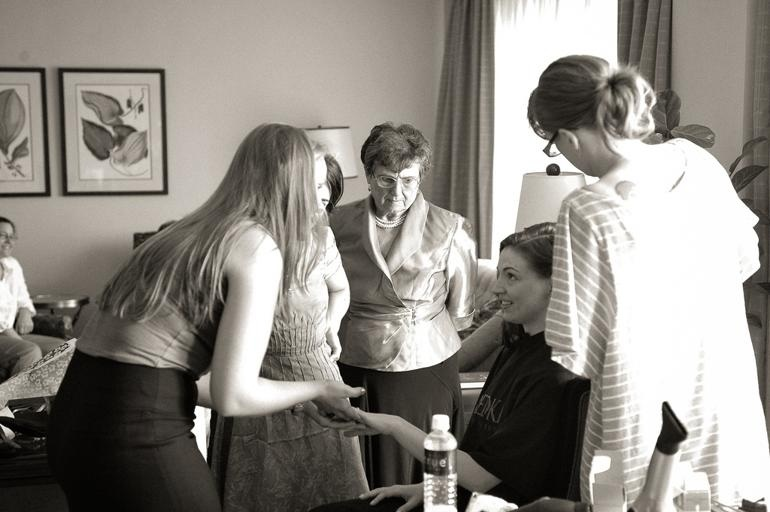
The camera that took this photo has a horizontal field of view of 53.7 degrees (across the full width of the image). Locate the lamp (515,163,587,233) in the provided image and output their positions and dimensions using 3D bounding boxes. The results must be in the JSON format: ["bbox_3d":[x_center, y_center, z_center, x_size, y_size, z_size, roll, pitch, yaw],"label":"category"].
[{"bbox_3d":[0.912,-0.253,4.276,0.441,0.513,0.456,0,4,23],"label":"lamp"}]

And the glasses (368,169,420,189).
[{"bbox_3d":[0.041,-0.297,2.965,0.193,0.073,0.095,-1,3,6],"label":"glasses"}]

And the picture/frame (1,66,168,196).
[{"bbox_3d":[-2.562,-1.080,6.354,0.993,0.686,0.023,0,1,-9],"label":"picture/frame"}]

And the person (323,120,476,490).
[{"bbox_3d":[0.015,0.419,3.321,0.644,2.108,0.649,7,33,10],"label":"person"}]

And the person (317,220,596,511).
[{"bbox_3d":[0.218,0.401,3.017,0.883,1.457,0.720,5,-4,4],"label":"person"}]
